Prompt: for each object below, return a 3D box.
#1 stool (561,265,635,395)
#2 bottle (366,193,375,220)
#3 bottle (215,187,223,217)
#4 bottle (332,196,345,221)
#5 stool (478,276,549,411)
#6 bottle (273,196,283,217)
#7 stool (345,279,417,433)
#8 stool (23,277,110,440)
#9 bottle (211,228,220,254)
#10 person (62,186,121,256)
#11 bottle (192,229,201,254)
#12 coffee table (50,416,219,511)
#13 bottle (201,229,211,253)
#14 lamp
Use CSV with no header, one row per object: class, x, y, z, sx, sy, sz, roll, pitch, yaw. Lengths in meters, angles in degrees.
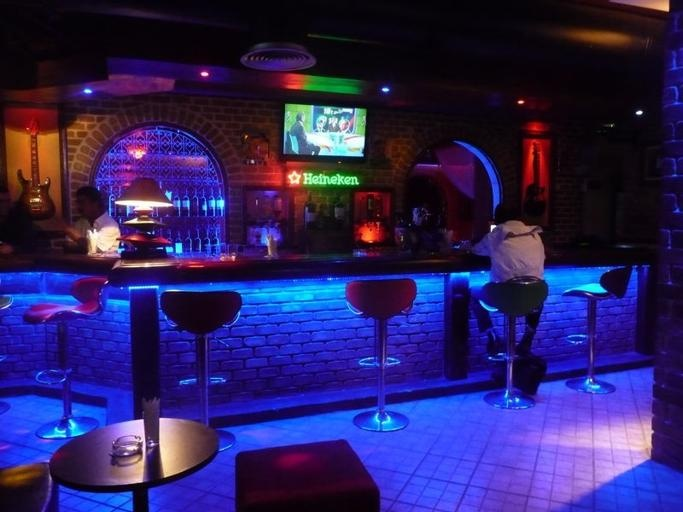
stool,2.473,0.684,5.889,0.607,1.218,0.576,-4,7,-7
bottle,0.418,-0.704,8.334,0.149,0.351,0.099,-5,7,-20
bottle,-1.569,-0.708,7.687,0.123,0.360,0.095,-5,7,-16
bottle,-0.037,-0.663,8.129,0.193,0.335,0.171,-3,7,-5
stool,1.543,0.772,5.447,0.449,1.197,0.469,-8,8,-35
bottle,-0.853,-0.664,7.992,0.134,0.303,0.053,-4,7,-6
stool,0.317,0.805,5.120,0.524,1.274,0.479,-8,8,-35
stool,-2.328,0.830,5.138,0.661,1.256,0.763,-6,7,-26
bottle,-1.609,-0.211,7.630,0.104,0.313,0.113,-3,7,0
person,-2.684,-0.401,6.334,0.492,0.693,1.581,-6,7,-25
bottle,-1.835,-0.212,7.544,0.124,0.285,0.068,-5,7,-18
coffee table,-1.191,1.157,3.388,0.747,0.494,0.722,3,11,-1
bottle,-1.711,-0.210,7.565,0.176,0.307,0.131,-5,7,-18
lamp,-1.915,-0.405,5.753,0.459,0.699,1.794,-5,7,-20
